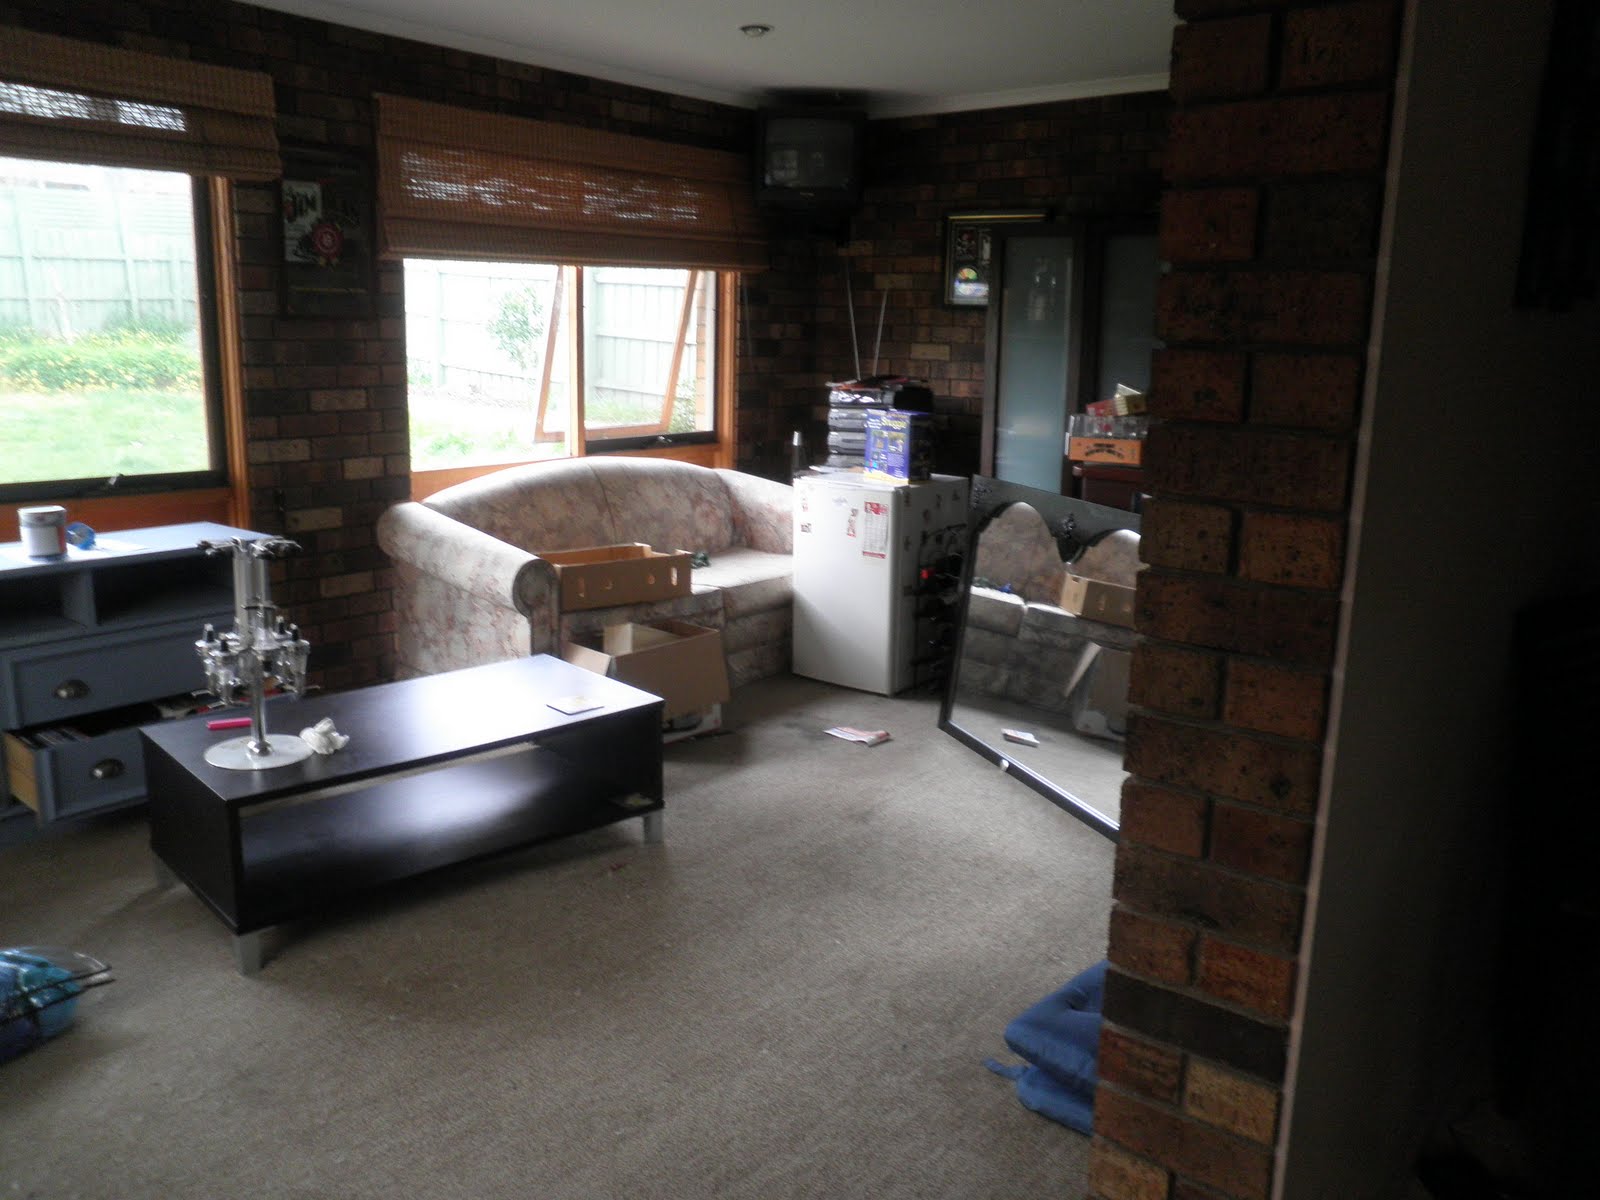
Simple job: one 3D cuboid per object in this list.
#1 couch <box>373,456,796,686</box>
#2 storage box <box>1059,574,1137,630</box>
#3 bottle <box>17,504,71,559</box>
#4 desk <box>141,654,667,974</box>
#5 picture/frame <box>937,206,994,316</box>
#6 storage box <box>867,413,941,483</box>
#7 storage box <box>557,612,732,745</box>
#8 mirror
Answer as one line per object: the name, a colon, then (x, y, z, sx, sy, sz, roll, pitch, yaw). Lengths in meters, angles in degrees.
couch: (-0.755, -0.121, 5.563, 1.016, 1.016, 2.145, 12, 16, 39)
storage box: (1.000, 0.003, 3.957, 0.090, 0.198, 0.398, 7, 4, -25)
bottle: (-2.505, -0.218, 3.838, 0.127, 0.153, 0.149, -9, 17, -25)
desk: (-1.214, 0.580, 3.695, 1.417, 0.523, 0.759, -13, 18, -37)
picture/frame: (0.910, -1.887, 6.499, 0.310, 0.513, 0.074, 12, 21, 42)
storage box: (0.452, -0.702, 5.381, 0.176, 0.294, 0.328, -8, 17, -30)
storage box: (-0.664, 0.285, 4.801, 0.537, 0.333, 0.547, -11, 16, -43)
mirror: (0.919, 0.164, 4.239, 0.133, 1.033, 1.223, 3, 13, -26)
